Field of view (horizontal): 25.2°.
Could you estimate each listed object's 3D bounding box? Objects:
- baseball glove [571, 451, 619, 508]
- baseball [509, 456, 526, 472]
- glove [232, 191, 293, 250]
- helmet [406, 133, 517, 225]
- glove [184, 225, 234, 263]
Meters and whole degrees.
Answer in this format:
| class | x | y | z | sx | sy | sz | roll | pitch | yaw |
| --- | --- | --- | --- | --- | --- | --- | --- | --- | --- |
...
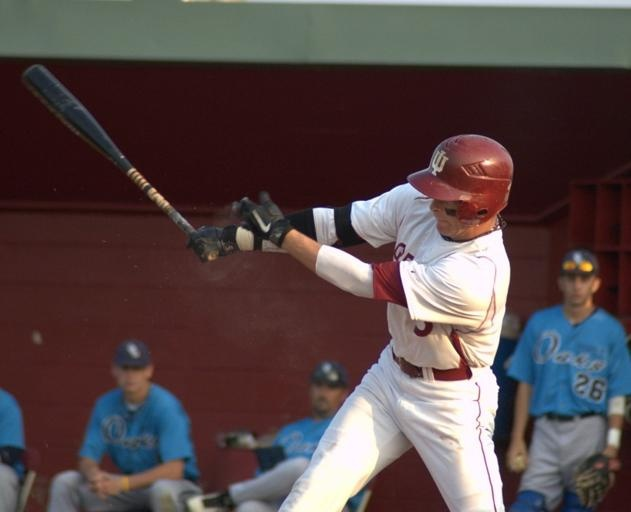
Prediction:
| class | x | y | z | sx | sy | sz | roll | pitch | yaw |
| --- | --- | --- | --- | --- | --- | --- | --- | --- | --- |
| baseball glove | 1.333 | 1.086 | 6.763 | 0.176 | 0.267 | 0.081 | 3 | 3 | 34 |
| baseball | 0.989 | 1.025 | 6.906 | 0.075 | 0.068 | 0.072 | 1 | -3 | -34 |
| glove | -0.224 | -0.147 | 5.864 | 0.259 | 0.226 | 0.154 | 1 | 2 | 5 |
| helmet | 0.612 | -0.340 | 5.875 | 0.422 | 0.259 | 0.299 | 15 | 19 | -10 |
| glove | -0.445 | -0.060 | 5.982 | 0.143 | 0.179 | 0.180 | -4 | 10 | -31 |
